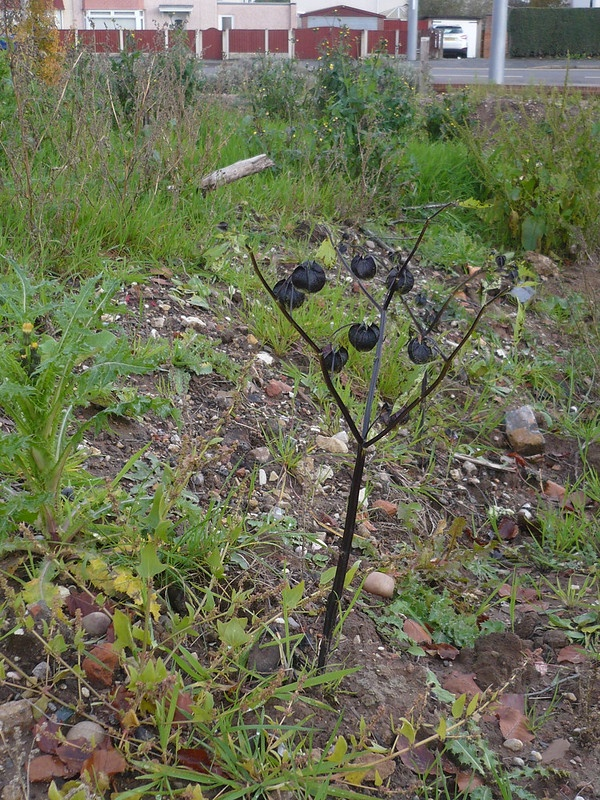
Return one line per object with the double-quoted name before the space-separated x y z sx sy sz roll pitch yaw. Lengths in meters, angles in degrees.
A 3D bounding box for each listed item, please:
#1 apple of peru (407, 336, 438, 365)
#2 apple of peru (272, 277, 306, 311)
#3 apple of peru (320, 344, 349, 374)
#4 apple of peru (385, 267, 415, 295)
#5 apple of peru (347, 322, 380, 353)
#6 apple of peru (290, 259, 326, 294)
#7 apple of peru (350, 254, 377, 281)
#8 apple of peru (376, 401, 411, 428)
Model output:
"apple of peru" 0.275 -0.108 1.695 0.068 0.071 0.040 -12 -9 -16
"apple of peru" -0.025 -0.230 1.586 0.073 0.084 0.069 -5 8 -10
"apple of peru" 0.072 -0.085 1.537 0.059 0.061 0.065 2 6 17
"apple of peru" 0.205 -0.261 1.599 0.065 0.068 0.061 6 24 17
"apple of peru" 0.132 -0.131 1.535 0.064 0.055 0.060 2 7 7
"apple of peru" 0.016 -0.267 1.577 0.073 0.066 0.068 -3 18 -2
"apple of peru" 0.144 -0.293 1.654 0.055 0.062 0.056 -7 23 9
"apple of peru" 0.372 0.053 2.966 0.060 0.141 0.124 3 0 44
